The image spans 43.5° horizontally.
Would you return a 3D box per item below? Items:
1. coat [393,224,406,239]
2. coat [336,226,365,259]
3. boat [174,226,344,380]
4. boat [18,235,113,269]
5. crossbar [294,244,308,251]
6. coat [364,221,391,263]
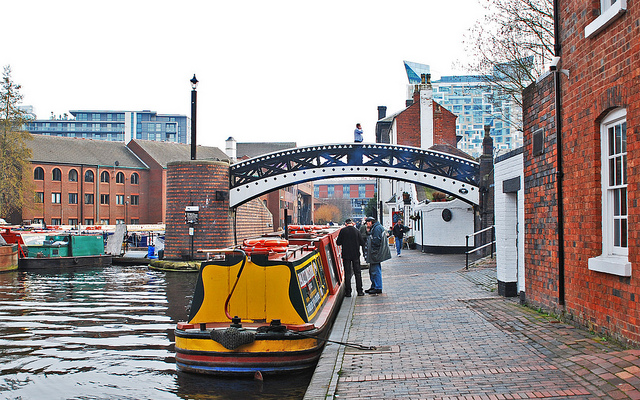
[{"bbox_3d":[3.881,1.498,38.136,0.578,0.682,0.653,-2,-4,4],"label":"coat"},{"bbox_3d":[1.013,1.338,25.331,1.299,1.177,0.743,0,11,4],"label":"coat"},{"bbox_3d":[-1.096,2.760,21.515,3.153,3.519,4.428,-3,-4,23],"label":"boat"},{"bbox_3d":[-13.901,2.585,42.938,2.774,1.552,5.029,13,10,40],"label":"boat"},{"bbox_3d":[-0.476,1.301,21.940,0.088,0.086,1.191,16,7,17],"label":"crossbar"},{"bbox_3d":[1.633,1.313,24.970,1.230,1.392,1.604,1,-2,5],"label":"coat"}]
